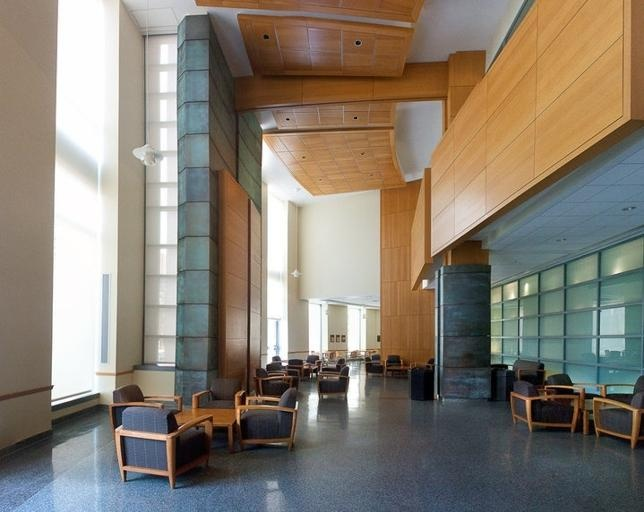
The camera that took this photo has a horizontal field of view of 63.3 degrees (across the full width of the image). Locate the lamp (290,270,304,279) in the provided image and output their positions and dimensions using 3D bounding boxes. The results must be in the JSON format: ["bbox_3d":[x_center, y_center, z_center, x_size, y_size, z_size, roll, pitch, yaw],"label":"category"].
[{"bbox_3d":[-1.201,0.847,24.379,0.484,0.315,0.466,7,-9,-29],"label":"lamp"}]

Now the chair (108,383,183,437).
[{"bbox_3d":[-3.031,2.716,9.112,1.131,0.811,1.174,-3,-10,15],"label":"chair"}]

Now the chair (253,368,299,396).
[{"bbox_3d":[-1.164,3.341,13.270,1.096,0.872,0.899,0,-4,-6],"label":"chair"}]

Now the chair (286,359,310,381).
[{"bbox_3d":[-0.817,4.023,18.161,0.721,0.916,0.879,1,1,22],"label":"chair"}]

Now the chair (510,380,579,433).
[{"bbox_3d":[4.428,2.949,10.524,0.973,0.675,1.508,1,-10,10],"label":"chair"}]

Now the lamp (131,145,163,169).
[{"bbox_3d":[-3.212,-1.885,9.650,0.438,0.389,0.493,2,-5,-11],"label":"lamp"}]

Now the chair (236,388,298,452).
[{"bbox_3d":[-0.931,2.680,8.668,0.987,0.944,0.882,1,-5,-5],"label":"chair"}]

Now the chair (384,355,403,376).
[{"bbox_3d":[2.944,4.431,21.325,0.811,0.913,0.793,-1,-12,5],"label":"chair"}]

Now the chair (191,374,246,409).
[{"bbox_3d":[-2.028,2.676,10.178,0.718,0.636,0.768,-1,-9,4],"label":"chair"}]

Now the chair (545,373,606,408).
[{"bbox_3d":[5.110,2.829,10.890,0.520,0.464,0.575,-1,9,-16],"label":"chair"}]

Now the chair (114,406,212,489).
[{"bbox_3d":[-2.209,2.564,7.566,1.109,1.002,1.206,-1,-3,15],"label":"chair"}]

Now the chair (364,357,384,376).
[{"bbox_3d":[2.160,4.544,21.485,0.696,0.566,0.693,0,-3,11],"label":"chair"}]

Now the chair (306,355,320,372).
[{"bbox_3d":[-0.314,4.234,20.758,0.441,0.516,0.508,-3,-11,13],"label":"chair"}]

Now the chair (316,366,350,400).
[{"bbox_3d":[0.328,3.477,14.497,0.913,0.833,0.760,-2,-10,5],"label":"chair"}]
